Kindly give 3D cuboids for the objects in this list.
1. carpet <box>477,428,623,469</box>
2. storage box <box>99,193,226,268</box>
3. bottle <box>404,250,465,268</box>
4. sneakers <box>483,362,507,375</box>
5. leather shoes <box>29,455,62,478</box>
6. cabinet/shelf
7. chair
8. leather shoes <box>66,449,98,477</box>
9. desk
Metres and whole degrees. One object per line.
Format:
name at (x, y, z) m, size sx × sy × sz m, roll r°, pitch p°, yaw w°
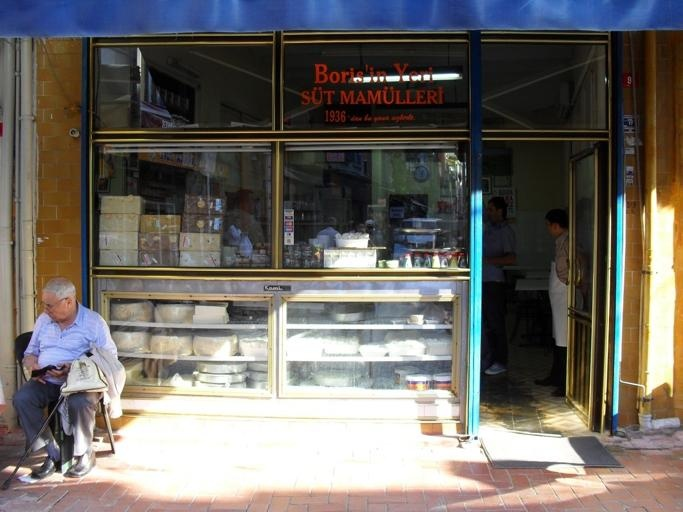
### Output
carpet at (2.016, 1.910, 7.715) m, size 1.241 × 0.211 × 0.763 m, roll -3°, pitch 2°, yaw 2°
storage box at (-1.952, -0.308, 8.655) m, size 1.274 × 0.761 × 0.813 m, roll 0°, pitch 4°, yaw -3°
bottle at (0.946, 0.024, 8.034) m, size 0.655 × 0.200 × 0.124 m, roll -2°, pitch 2°, yaw 5°
sneakers at (1.966, 1.440, 9.959) m, size 0.294 × 0.125 × 0.119 m, roll -3°, pitch 11°, yaw -11°
leather shoes at (-2.741, 1.982, 7.234) m, size 0.121 × 0.145 × 0.321 m, roll 1°, pitch -7°, yaw 13°
cabinet/shelf at (-0.561, 0.917, 8.132) m, size 3.608 × 1.235 × 0.297 m, roll -3°, pitch 2°, yaw 3°
chair at (-2.545, 1.359, 7.340) m, size 0.708 × 1.260 × 0.862 m, roll -6°, pitch -6°, yaw -20°
leather shoes at (-2.440, 1.943, 7.270) m, size 0.268 × 0.205 × 0.178 m, roll -3°, pitch 2°, yaw -21°
desk at (2.879, 0.786, 11.986) m, size 0.569 × 0.596 × 1.166 m, roll 0°, pitch 9°, yaw 6°
